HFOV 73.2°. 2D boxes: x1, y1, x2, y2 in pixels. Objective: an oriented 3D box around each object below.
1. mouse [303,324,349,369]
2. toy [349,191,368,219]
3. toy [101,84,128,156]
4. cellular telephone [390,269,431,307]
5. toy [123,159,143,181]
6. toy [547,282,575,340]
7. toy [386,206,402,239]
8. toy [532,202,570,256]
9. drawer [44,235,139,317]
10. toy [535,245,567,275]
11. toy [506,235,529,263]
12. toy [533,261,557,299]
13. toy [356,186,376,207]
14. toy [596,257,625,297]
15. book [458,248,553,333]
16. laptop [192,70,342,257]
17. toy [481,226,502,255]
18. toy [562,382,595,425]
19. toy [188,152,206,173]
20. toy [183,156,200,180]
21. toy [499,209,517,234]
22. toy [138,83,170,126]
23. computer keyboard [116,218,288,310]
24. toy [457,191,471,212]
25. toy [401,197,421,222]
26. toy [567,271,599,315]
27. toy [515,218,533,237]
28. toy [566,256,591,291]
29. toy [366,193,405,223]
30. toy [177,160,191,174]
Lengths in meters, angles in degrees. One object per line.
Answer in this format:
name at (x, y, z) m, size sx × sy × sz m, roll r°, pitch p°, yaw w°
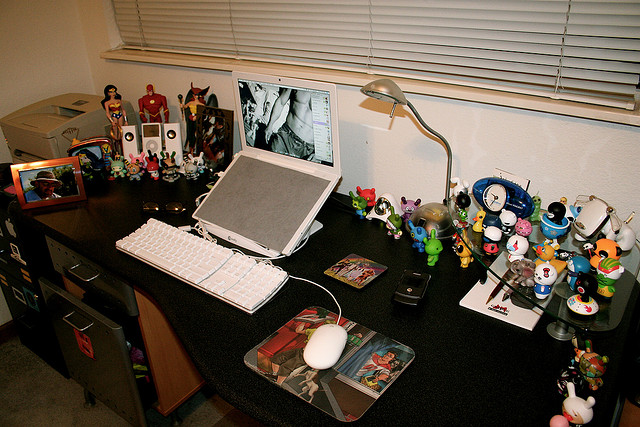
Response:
mouse at (0.013, 0.387, 1.251) m, size 0.098 × 0.070 × 0.126 m, roll 13°, pitch 29°, yaw 18°
toy at (0.152, -0.043, 1.856) m, size 0.099 × 0.156 × 0.102 m, roll -4°, pitch 29°, yaw 2°
toy at (-1.017, -0.443, 2.147) m, size 0.129 × 0.375 × 0.123 m, roll -10°, pitch 18°, yaw -19°
cellular telephone at (0.304, 0.252, 1.432) m, size 0.104 × 0.038 × 0.158 m, roll 7°, pitch 33°, yaw 19°
toy at (-0.882, -0.199, 2.025) m, size 0.091 × 0.097 × 0.095 m, roll -12°, pitch 39°, yaw -20°
toy at (0.666, 0.306, 1.297) m, size 0.087 × 0.153 × 0.152 m, roll 10°, pitch 28°, yaw 29°
toy at (0.284, 0.040, 1.672) m, size 0.074 × 0.128 × 0.080 m, roll -1°, pitch 27°, yaw -1°
toy at (0.748, 0.044, 1.374) m, size 0.109 × 0.154 × 0.081 m, roll -6°, pitch 20°, yaw -11°
drawer at (-0.884, 0.246, 1.676) m, size 0.306 × 0.214 × 0.295 m, roll -19°, pitch 31°, yaw -36°
toy at (0.707, 0.136, 1.326) m, size 0.088 × 0.051 × 0.085 m, roll -13°, pitch 29°, yaw 2°
toy at (0.636, 0.107, 1.376) m, size 0.072 × 0.083 × 0.074 m, roll 3°, pitch 30°, yaw 30°
toy at (0.670, 0.198, 1.288) m, size 0.072 × 0.114 × 0.067 m, roll 3°, pitch 16°, yaw 14°
toy at (0.202, -0.080, 1.808) m, size 0.092 × 0.102 × 0.074 m, roll 6°, pitch 25°, yaw 21°
toy at (0.813, 0.184, 1.216) m, size 0.066 × 0.105 × 0.069 m, roll -6°, pitch 17°, yaw -34°
book at (0.590, 0.244, 1.345) m, size 0.240 × 0.179 × 0.234 m, roll 22°, pitch 33°, yaw 32°
laptop at (-0.228, -0.215, 1.569) m, size 0.529 × 0.493 × 0.410 m, roll 21°, pitch 45°, yaw 32°
toy at (0.567, 0.092, 1.422) m, size 0.068 × 0.102 × 0.068 m, roll -21°, pitch 22°, yaw -39°
toy at (0.669, 0.504, 1.125) m, size 0.069 × 0.070 × 0.080 m, roll -23°, pitch 37°, yaw -40°
toy at (-0.589, -0.237, 2.043) m, size 0.084 × 0.107 × 0.049 m, roll -11°, pitch -14°, yaw -7°
toy at (-0.612, -0.214, 2.032) m, size 0.089 × 0.129 × 0.063 m, roll -8°, pitch 27°, yaw -13°
toy at (0.624, 0.030, 1.427) m, size 0.044 × 0.069 × 0.052 m, roll -19°, pitch 32°, yaw -24°
toy at (-0.857, -0.549, 2.210) m, size 0.139 × 0.235 × 0.310 m, roll -6°, pitch 29°, yaw -17°
computer keyboard at (-0.460, 0.172, 1.550) m, size 0.730 × 0.087 × 0.226 m, roll 13°, pitch 31°, yaw 23°
toy at (0.503, -0.043, 1.506) m, size 0.042 × 0.050 × 0.037 m, roll 7°, pitch -3°, yaw 22°
toy at (0.355, -0.010, 1.693) m, size 0.079 × 0.114 × 0.065 m, roll 6°, pitch 23°, yaw 8°
toy at (0.739, 0.223, 1.207) m, size 0.095 × 0.100 × 0.095 m, roll -5°, pitch 10°, yaw -22°
toy at (0.658, 0.046, 1.395) m, size 0.042 × 0.050 × 0.042 m, roll -14°, pitch -1°, yaw -17°
toy at (0.746, 0.175, 1.240) m, size 0.062 × 0.087 × 0.064 m, roll 16°, pitch 32°, yaw 27°
toy at (0.253, -0.021, 1.706) m, size 0.125 × 0.082 × 0.119 m, roll 14°, pitch 29°, yaw 25°
toy at (-0.650, -0.227, 2.083) m, size 0.052 × 0.063 × 0.066 m, roll 10°, pitch 18°, yaw 22°
